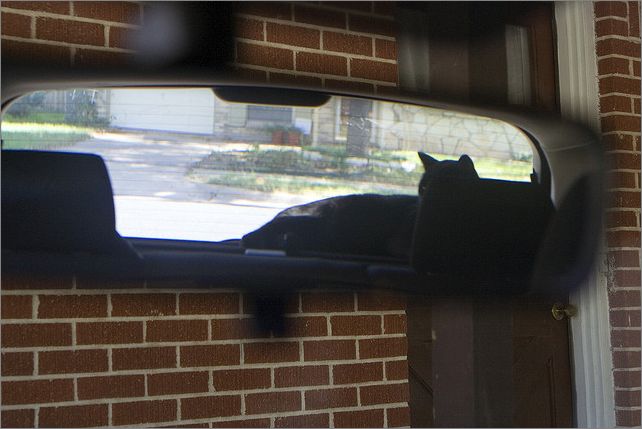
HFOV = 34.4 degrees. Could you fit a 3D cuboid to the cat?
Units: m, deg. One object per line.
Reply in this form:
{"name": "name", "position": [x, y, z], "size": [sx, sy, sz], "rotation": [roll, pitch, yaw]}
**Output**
{"name": "cat", "position": [0.094, 0.018, 2.996], "size": [0.712, 0.360, 0.199], "rotation": [-7, 4, 12]}
